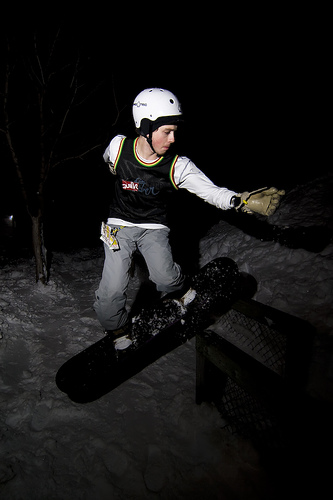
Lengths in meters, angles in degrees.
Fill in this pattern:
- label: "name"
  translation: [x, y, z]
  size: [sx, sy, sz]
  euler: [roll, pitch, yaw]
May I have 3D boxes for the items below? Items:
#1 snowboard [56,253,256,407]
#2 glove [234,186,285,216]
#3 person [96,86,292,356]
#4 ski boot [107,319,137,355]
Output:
- label: "snowboard"
  translation: [-0.077, 0.965, 3.976]
  size: [2.120, 0.314, 0.511]
  euler: [-38, 60, -10]
- label: "glove"
  translation: [0.773, -0.400, 2.933]
  size: [0.314, 0.141, 0.257]
  euler: [15, 60, 33]
- label: "person"
  translation: [-0.047, -0.289, 3.505]
  size: [1.306, 2.481, 0.970]
  euler: [3, 18, -2]
- label: "ski boot"
  translation: [-0.502, 0.822, 3.570]
  size: [0.219, 0.075, 0.443]
  euler: [-29, 36, -14]
